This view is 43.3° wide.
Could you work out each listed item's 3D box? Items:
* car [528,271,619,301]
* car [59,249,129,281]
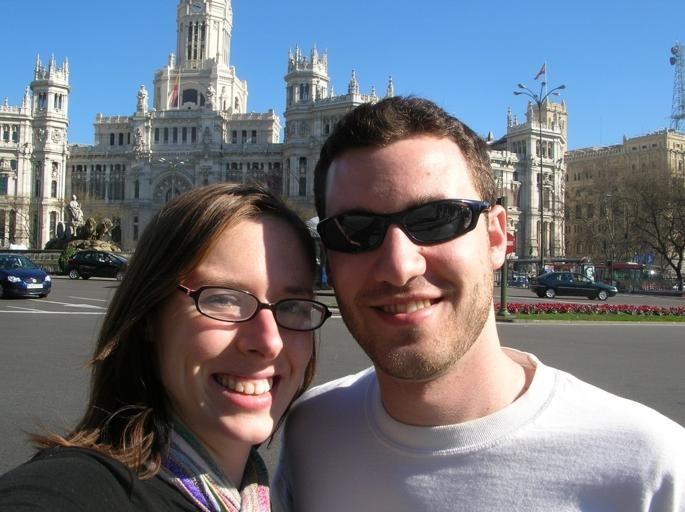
[{"bbox_3d":[8.854,1.186,33.297,2.648,0.829,1.330,0,-2,-1],"label":"car"},{"bbox_3d":[-8.573,0.340,29.370,1.730,0.793,1.081,-4,-3,14],"label":"car"}]
